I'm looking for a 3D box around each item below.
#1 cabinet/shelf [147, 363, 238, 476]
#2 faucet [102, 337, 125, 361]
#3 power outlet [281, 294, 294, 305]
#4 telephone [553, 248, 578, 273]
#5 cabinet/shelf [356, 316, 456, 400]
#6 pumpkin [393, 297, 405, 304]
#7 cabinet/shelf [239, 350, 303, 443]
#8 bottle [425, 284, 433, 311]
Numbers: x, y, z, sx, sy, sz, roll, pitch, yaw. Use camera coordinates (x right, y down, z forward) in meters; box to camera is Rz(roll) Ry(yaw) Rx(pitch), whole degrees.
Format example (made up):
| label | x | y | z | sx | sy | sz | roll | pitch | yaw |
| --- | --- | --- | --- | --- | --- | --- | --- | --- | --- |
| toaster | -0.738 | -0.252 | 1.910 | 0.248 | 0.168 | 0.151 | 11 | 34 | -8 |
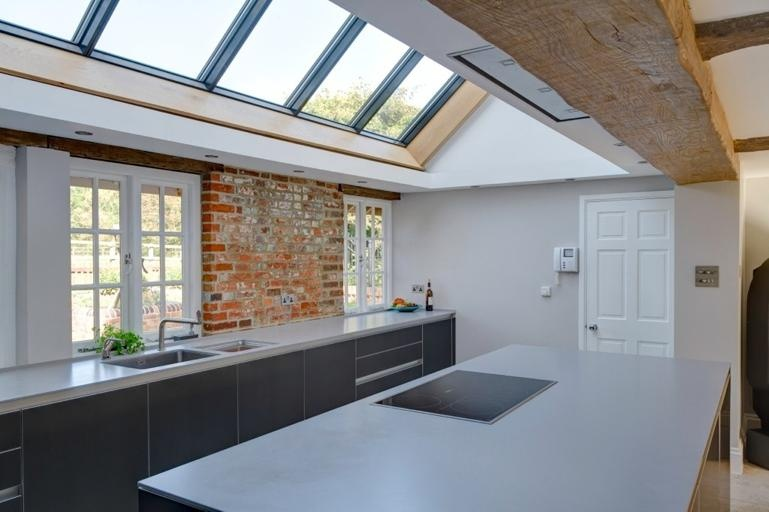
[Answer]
| label | x | y | z | sx | sy | sz | roll | pitch | yaw |
| --- | --- | --- | --- | --- | --- | --- | --- | --- | --- |
| cabinet/shelf | -1.277 | 1.051 | 3.130 | 0.371 | 0.650 | 0.710 | -1 | -3 | 33 |
| faucet | -1.913 | 0.660 | 3.475 | 0.148 | 0.149 | 0.113 | -1 | -6 | -3 |
| power outlet | -0.986 | 0.438 | 4.908 | 0.018 | 0.114 | 0.163 | 2 | 5 | 35 |
| telephone | 2.021 | 0.041 | 5.399 | 0.278 | 0.284 | 0.143 | -3 | -8 | 32 |
| cabinet/shelf | 0.386 | 1.074 | 5.469 | 0.429 | 0.600 | 1.252 | 17 | -25 | -39 |
| pumpkin | 0.163 | 0.551 | 5.958 | 0.129 | 0.064 | 0.155 | -3 | 4 | -31 |
| cabinet/shelf | -0.884 | 1.042 | 3.624 | 0.357 | 0.595 | 0.689 | -1 | -3 | 39 |
| bottle | 0.559 | 0.505 | 6.121 | 0.106 | 0.339 | 0.223 | 0 | 4 | 4 |
